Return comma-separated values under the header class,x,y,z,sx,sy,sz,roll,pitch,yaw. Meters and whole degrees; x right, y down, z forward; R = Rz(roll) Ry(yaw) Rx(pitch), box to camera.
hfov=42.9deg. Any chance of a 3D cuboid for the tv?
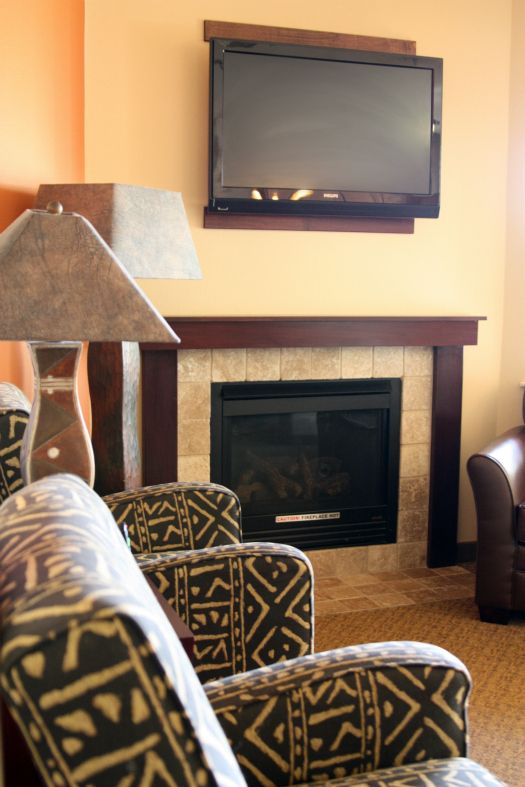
class,x,y,z,sx,sy,sz,roll,pitch,yaw
tv,0.237,-1.156,2.894,0.782,0.568,0.056,-2,12,-15
